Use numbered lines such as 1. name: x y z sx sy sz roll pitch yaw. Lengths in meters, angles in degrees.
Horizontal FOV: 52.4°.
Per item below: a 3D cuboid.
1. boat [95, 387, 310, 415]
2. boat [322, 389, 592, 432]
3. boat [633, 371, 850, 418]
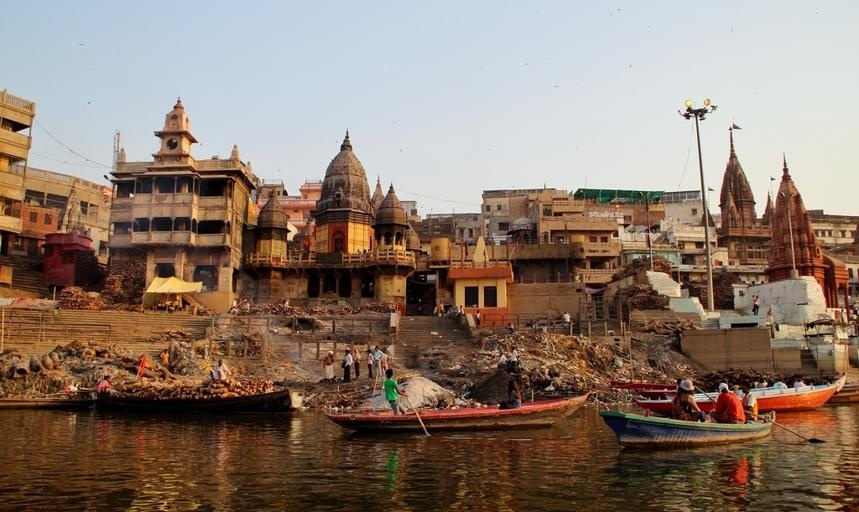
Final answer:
1. boat: -11.799 7.455 44.712 9.849 1.428 0.671 1 8 6
2. boat: -0.317 7.667 41.202 16.489 1.811 3.412 -1 -10 -1
3. boat: 16.526 6.525 45.134 17.509 2.734 3.279 2 -15 -19
